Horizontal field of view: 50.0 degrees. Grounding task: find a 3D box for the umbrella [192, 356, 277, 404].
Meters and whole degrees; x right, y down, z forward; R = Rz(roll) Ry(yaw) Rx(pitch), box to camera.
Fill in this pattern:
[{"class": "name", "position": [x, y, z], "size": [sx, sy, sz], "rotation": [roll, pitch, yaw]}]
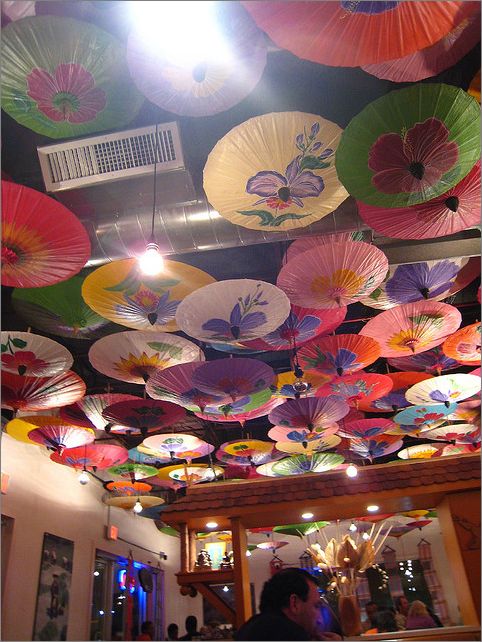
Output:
[{"class": "umbrella", "position": [-0.110, 0.705, 6.345], "size": [0.751, 0.226, 0.707], "rotation": [22, -47, -26]}]
